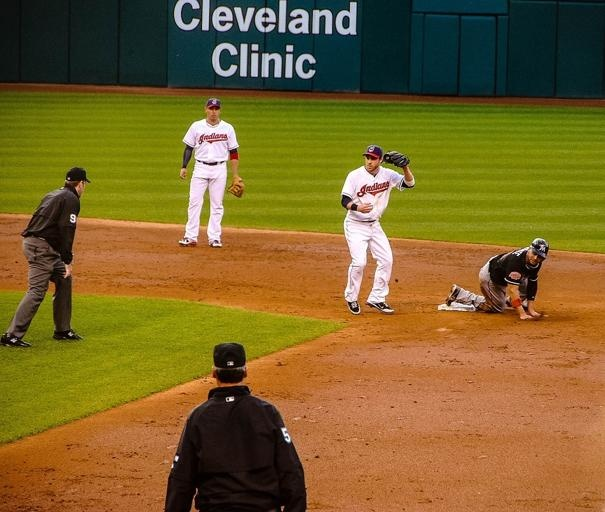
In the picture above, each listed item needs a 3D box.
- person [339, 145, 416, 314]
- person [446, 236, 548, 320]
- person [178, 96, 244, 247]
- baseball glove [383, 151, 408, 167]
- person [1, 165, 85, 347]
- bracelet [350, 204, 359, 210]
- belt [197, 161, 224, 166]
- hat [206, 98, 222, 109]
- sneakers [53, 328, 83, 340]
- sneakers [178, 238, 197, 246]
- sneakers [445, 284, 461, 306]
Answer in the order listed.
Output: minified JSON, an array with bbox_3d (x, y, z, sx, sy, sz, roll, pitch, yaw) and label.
[{"bbox_3d":[0.868,-0.303,11.169,0.841,2.070,0.647,-8,16,-37],"label":"person"},{"bbox_3d":[2.424,0.259,11.223,1.308,0.873,0.866,4,13,33],"label":"person"},{"bbox_3d":[-1.472,-1.280,14.745,0.959,2.447,0.670,0,13,-9],"label":"person"},{"bbox_3d":[1.145,-1.173,11.014,0.273,0.168,0.102,7,41,25],"label":"baseball glove"},{"bbox_3d":[-2.608,0.019,9.305,0.832,1.822,0.555,-1,13,-12],"label":"person"},{"bbox_3d":[0.618,-0.560,10.824,0.070,0.075,0.155,2,11,2],"label":"bracelet"},{"bbox_3d":[-1.457,-1.478,14.688,0.377,0.063,0.105,1,12,-5],"label":"belt"},{"bbox_3d":[-1.396,-2.392,14.451,0.187,0.146,0.337,1,11,-2],"label":"hat"},{"bbox_3d":[-2.429,0.825,9.607,0.331,0.122,0.107,1,21,-8],"label":"sneakers"},{"bbox_3d":[-1.895,-0.222,15.078,0.299,0.130,0.126,14,19,30],"label":"sneakers"},{"bbox_3d":[1.865,0.501,11.417,0.132,0.288,0.111,23,-6,-8],"label":"sneakers"}]
